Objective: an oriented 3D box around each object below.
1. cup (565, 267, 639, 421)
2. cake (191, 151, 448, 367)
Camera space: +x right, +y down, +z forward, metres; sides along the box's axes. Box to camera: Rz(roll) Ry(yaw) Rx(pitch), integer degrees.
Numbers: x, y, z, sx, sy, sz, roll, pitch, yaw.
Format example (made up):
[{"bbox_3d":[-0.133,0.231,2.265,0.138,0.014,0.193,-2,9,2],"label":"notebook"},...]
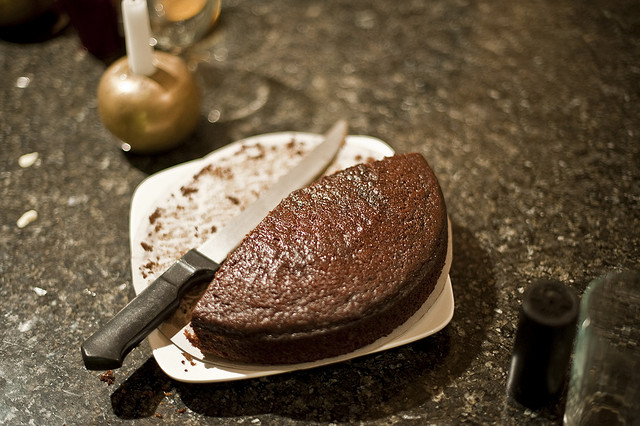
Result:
[{"bbox_3d":[0.347,0.169,0.779,0.090,0.152,0.093,-4,35,3],"label":"cup"},{"bbox_3d":[0.002,0.069,0.853,0.379,0.079,0.240,-17,71,-8],"label":"cake"}]
